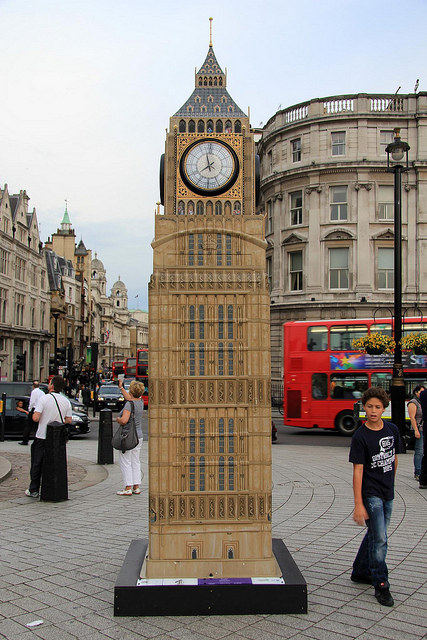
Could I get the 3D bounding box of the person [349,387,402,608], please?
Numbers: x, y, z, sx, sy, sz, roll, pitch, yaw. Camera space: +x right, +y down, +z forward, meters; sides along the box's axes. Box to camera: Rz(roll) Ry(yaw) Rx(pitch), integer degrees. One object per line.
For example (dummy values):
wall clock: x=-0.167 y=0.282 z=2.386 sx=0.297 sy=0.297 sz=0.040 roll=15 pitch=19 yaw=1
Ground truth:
person: x=1.381 y=1.462 z=7.759 sx=0.412 sy=1.776 sz=0.491 roll=-1 pitch=-4 yaw=13

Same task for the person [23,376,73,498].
person: x=-2.164 y=1.524 z=11.999 sx=0.555 sy=1.575 sz=0.430 roll=1 pitch=-4 yaw=-18

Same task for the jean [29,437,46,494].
jean: x=-2.321 y=1.904 z=11.968 sx=0.180 sy=0.744 sz=0.457 roll=1 pitch=-4 yaw=-13

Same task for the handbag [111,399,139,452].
handbag: x=-1.154 y=1.407 z=12.187 sx=0.382 sy=0.694 sz=0.302 roll=2 pitch=-4 yaw=-28

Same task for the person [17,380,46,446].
person: x=-3.417 y=1.712 z=17.136 sx=0.435 sy=1.177 sz=0.456 roll=7 pitch=-10 yaw=5
